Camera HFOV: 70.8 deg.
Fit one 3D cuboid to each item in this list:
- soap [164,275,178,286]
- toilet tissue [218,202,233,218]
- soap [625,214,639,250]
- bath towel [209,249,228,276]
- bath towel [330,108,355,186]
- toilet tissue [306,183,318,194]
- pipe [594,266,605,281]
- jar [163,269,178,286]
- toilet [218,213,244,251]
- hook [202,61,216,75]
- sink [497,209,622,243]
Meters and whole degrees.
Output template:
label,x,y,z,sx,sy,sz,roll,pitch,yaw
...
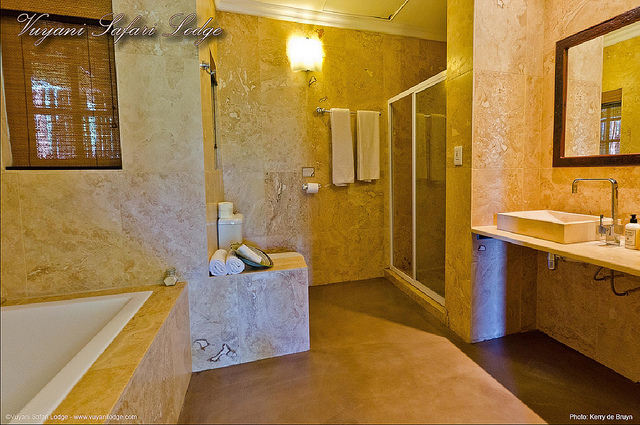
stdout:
label,x,y,z,sx,sy,sz,roll,pitch,yaw
soap,-1.141,0.519,3.447,0.080,0.057,0.077,-4,-4,43
toilet tissue,-0.839,-0.023,3.988,0.119,0.130,0.061,-7,11,-24
soap,2.249,0.171,3.263,0.086,0.178,0.065,2,12,24
bath towel,-0.815,0.465,3.651,0.145,0.121,0.328,-1,8,-12
bath towel,0.232,-0.715,4.819,0.235,0.795,0.089,-4,11,-7
toilet tissue,-0.082,-0.262,4.765,0.126,0.105,0.095,1,7,-7
pipe,2.147,0.476,3.484,0.123,0.117,0.040,-16,10,-40
jar,-1.145,0.497,3.456,0.111,0.147,0.113,0,-5,0
toilet,-0.793,0.176,3.962,0.183,0.305,0.328,2,4,40
hook,-0.917,-1.196,3.724,0.025,0.101,0.097,23,-35,-7
sink,1.880,0.094,3.581,0.504,0.187,0.797,-11,13,-42
